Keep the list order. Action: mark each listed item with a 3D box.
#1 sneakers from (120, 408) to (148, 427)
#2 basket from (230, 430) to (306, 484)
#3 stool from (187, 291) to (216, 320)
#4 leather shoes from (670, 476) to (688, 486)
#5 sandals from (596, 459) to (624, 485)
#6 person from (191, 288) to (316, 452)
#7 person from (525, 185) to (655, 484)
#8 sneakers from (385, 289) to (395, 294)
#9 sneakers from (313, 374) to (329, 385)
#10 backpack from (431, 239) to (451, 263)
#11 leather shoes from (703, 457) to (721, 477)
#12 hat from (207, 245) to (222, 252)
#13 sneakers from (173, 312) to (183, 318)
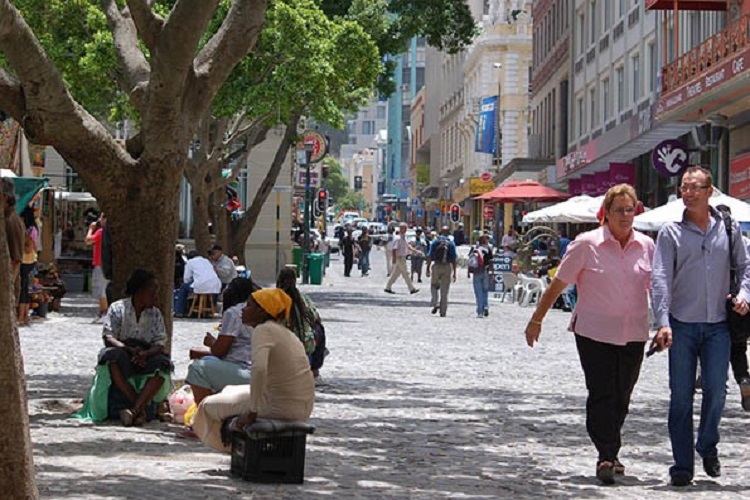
[{"bbox_3d":[-2.447,1.660,9.782,0.128,0.109,0.312,-12,1,3],"label":"sneakers"},{"bbox_3d":[-0.788,1.682,8.045,0.395,0.378,0.602,8,-13,-13],"label":"basket"},{"bbox_3d":[-3.679,1.140,20.487,0.526,0.665,0.541,0,4,-6],"label":"stool"},{"bbox_3d":[2.547,1.894,8.057,0.156,0.093,0.097,2,-3,5],"label":"leather shoes"},{"bbox_3d":[1.997,1.854,8.250,0.216,0.186,0.397,1,-3,19],"label":"sandals"},{"bbox_3d":[-1.036,1.015,8.128,0.905,1.415,0.567,1,-3,33],"label":"person"},{"bbox_3d":[1.917,0.684,8.351,0.936,2.514,0.435,2,-3,10],"label":"person"},{"bbox_3d":[0.480,1.257,30.591,0.339,0.142,0.107,4,28,-17],"label":"sneakers"},{"bbox_3d":[-0.701,1.657,12.443,0.158,0.082,0.212,4,5,-4],"label":"sneakers"},{"bbox_3d":[1.533,0.012,22.497,0.359,0.494,0.477,2,-8,4],"label":"backpack"},{"bbox_3d":[2.874,1.825,8.254,0.135,0.192,0.220,1,-3,19],"label":"leather shoes"},{"bbox_3d":[-3.521,-0.082,21.117,0.314,0.159,0.225,12,-3,-6],"label":"hat"},{"bbox_3d":[-4.264,1.367,20.777,0.255,0.106,0.086,6,4,10],"label":"sneakers"}]
